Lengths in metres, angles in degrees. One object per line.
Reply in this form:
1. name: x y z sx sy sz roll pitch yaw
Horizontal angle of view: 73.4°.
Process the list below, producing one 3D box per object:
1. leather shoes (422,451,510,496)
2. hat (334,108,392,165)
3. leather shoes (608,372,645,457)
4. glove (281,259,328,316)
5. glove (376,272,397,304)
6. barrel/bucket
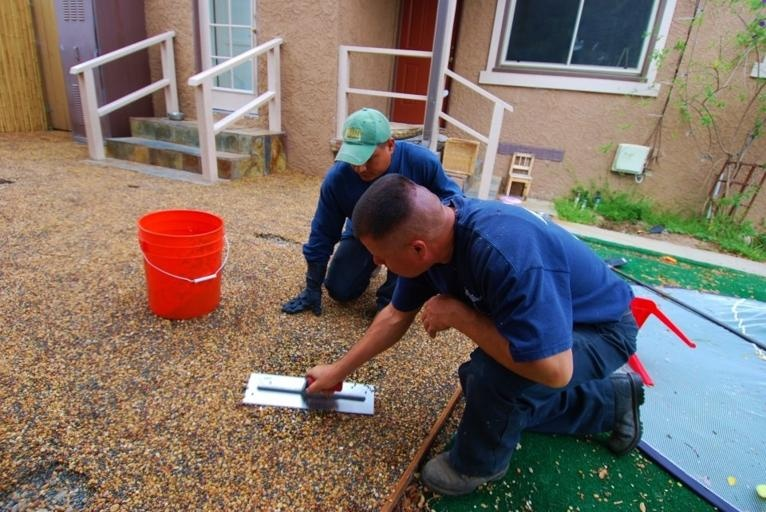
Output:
1. leather shoes: 0.552 1.485 3.559 0.569 0.263 0.256 -4 40 -13
2. hat: -0.173 -0.996 4.135 0.372 0.299 0.589 13 43 20
3. leather shoes: 1.667 1.098 3.700 0.260 0.578 0.206 0 -1 -13
4. glove: -0.601 0.317 4.535 0.311 0.176 0.618 9 49 15
5. glove: 0.036 0.287 4.558 0.092 0.265 0.187 9 31 -9
6. barrel/bucket: -1.587 0.071 4.316 0.683 0.721 0.708 7 23 -3
